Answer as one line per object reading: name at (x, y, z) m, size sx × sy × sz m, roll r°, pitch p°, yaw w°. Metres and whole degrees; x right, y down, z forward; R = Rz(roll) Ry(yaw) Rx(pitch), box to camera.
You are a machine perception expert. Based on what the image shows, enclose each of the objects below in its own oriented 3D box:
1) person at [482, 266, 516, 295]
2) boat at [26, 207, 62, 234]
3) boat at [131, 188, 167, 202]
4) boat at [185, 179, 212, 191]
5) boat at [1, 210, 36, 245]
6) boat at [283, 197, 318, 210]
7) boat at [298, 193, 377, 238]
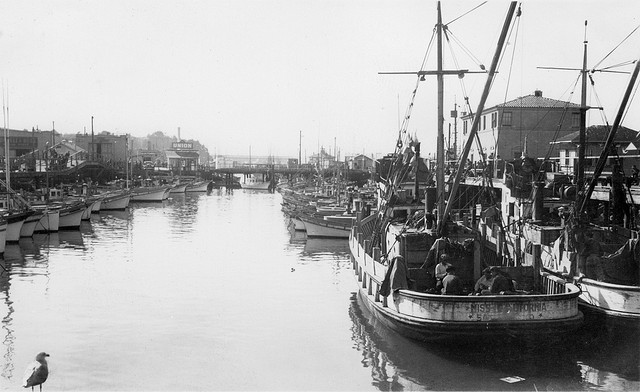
person at (8.833, 4.239, 37.502) m, size 1.555 × 1.403 × 1.124 m, roll 0°, pitch -5°, yaw 9°
boat at (-23.220, 2.071, 63.530) m, size 1.879 × 2.370 × 6.565 m, roll 0°, pitch -4°, yaw -22°
boat at (-23.176, -0.074, 103.076) m, size 4.739 × 1.327 × 1.531 m, roll -3°, pitch 7°, yaw -12°
boat at (-22.049, -1.961, 136.494) m, size 2.422 × 2.002 × 7.548 m, roll -3°, pitch 2°, yaw -27°
boat at (-23.401, 2.508, 58.523) m, size 2.045 × 2.141 × 2.444 m, roll 6°, pitch 10°, yaw 33°
boat at (-2.304, 0.988, 82.038) m, size 1.218 × 1.042 × 5.825 m, roll 4°, pitch 8°, yaw -35°
boat at (1.730, 1.644, 64.919) m, size 8.361 × 3.674 × 2.029 m, roll 1°, pitch 17°, yaw -22°
